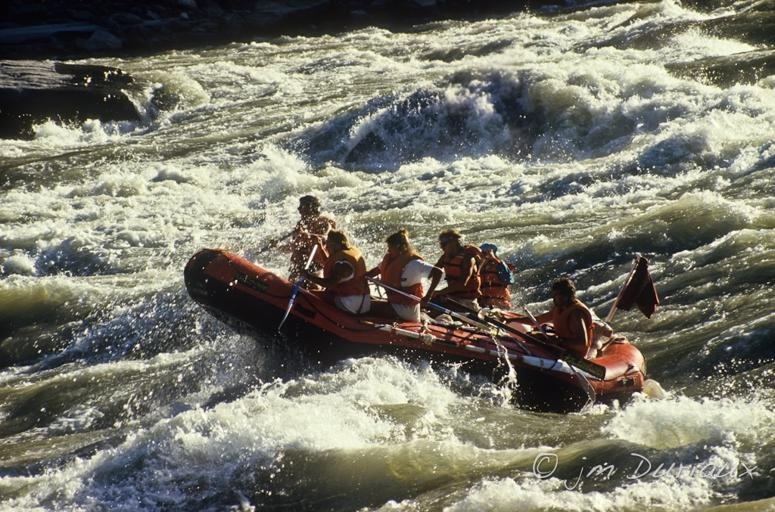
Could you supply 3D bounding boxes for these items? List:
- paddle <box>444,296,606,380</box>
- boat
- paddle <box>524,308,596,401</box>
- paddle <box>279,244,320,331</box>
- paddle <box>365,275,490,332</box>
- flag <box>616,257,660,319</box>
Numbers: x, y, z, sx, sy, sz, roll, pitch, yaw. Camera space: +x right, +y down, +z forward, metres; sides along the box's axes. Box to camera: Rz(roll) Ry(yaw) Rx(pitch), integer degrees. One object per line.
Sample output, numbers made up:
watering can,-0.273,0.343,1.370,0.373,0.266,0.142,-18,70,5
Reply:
paddle,2.994,1.756,20.252,3.304,0.357,0.319,22,-6,26
boat,0.483,1.716,20.510,8.022,1.383,3.506,16,-4,-1
paddle,3.492,2.081,19.972,2.609,0.342,0.307,41,33,20
paddle,-1.774,0.739,20.460,0.256,2.132,0.240,36,5,1
paddle,0.749,1.020,20.363,2.806,0.112,0.423,16,-8,-1
flag,5.351,0.769,21.221,0.641,1.279,0.773,-35,57,-23
